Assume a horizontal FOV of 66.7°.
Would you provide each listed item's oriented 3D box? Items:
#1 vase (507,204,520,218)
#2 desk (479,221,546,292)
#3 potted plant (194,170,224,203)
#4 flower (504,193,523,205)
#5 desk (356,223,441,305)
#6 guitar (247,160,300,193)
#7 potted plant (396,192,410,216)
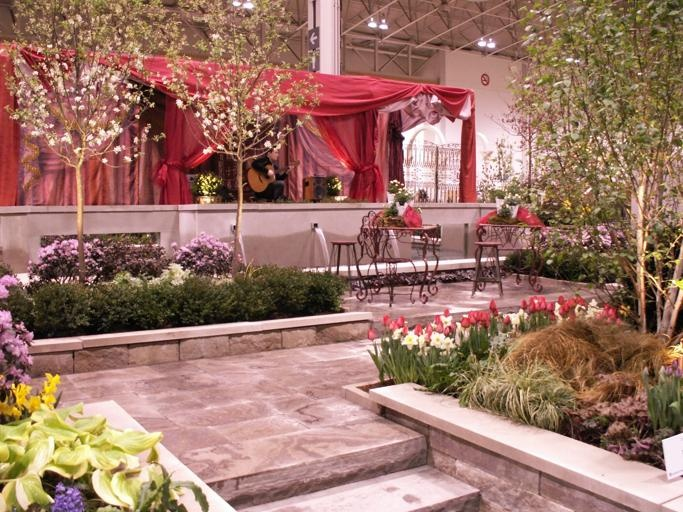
[{"bbox_3d":[2.975,-0.797,8.957,0.179,0.224,0.191,0,3,21],"label":"vase"},{"bbox_3d":[3.226,-0.048,9.817,1.308,1.281,1.333,1,0,33],"label":"desk"},{"bbox_3d":[-2.738,-1.407,10.612,0.553,0.643,0.512,-1,1,-17],"label":"potted plant"},{"bbox_3d":[3.000,-1.001,9.116,0.292,0.240,0.314,1,8,-1],"label":"flower"},{"bbox_3d":[0.998,0.097,9.178,1.296,1.318,1.431,3,5,15],"label":"desk"},{"bbox_3d":[-1.504,-1.728,11.175,1.174,0.622,0.162,-20,7,-25],"label":"guitar"},{"bbox_3d":[0.991,-0.870,8.445,0.215,0.415,0.638,0,1,20],"label":"potted plant"}]
